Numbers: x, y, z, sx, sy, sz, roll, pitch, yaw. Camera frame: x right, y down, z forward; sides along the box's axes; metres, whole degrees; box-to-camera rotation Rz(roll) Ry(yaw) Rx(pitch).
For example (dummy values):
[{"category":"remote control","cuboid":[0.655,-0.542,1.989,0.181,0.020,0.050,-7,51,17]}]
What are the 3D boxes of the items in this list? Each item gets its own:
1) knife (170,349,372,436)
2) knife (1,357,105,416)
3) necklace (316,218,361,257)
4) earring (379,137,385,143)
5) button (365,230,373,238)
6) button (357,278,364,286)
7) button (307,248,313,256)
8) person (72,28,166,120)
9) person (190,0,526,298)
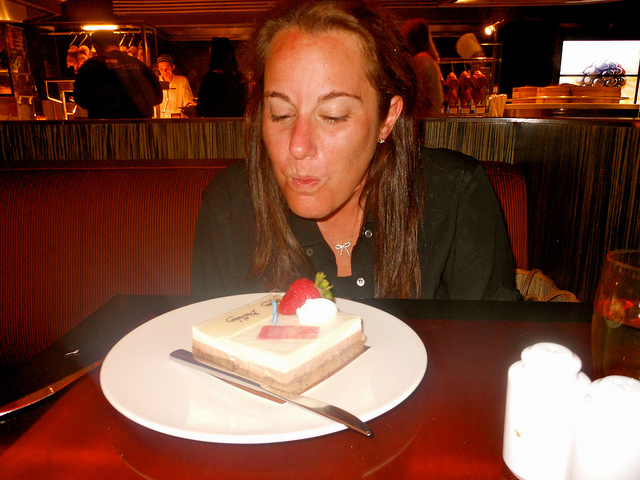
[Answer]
[{"category":"knife","cuboid":[-0.108,0.330,0.995,0.400,0.020,0.053,12,14,33]},{"category":"knife","cuboid":[-0.571,0.322,1.022,0.055,0.034,0.228,7,14,31]},{"category":"necklace","cuboid":[0.077,-0.010,1.957,0.154,0.158,0.011,-6,16,14]},{"category":"earring","cuboid":[0.241,-0.392,1.815,0.019,0.019,0.047,2,12,10]},{"category":"button","cuboid":[0.199,-0.026,1.902,0.031,0.030,0.010,1,13,5]},{"category":"button","cuboid":[0.163,0.169,1.872,0.027,0.029,0.014,-2,13,-9]},{"category":"button","cuboid":[-0.042,0.049,1.907,0.020,0.032,0.003,1,13,5]},{"category":"person","cuboid":[-2.060,-1.547,4.880,0.748,1.197,0.650,-16,7,-37]},{"category":"person","cuboid":[0.128,-0.308,1.878,1.279,1.183,0.645,-5,14,-23]}]
